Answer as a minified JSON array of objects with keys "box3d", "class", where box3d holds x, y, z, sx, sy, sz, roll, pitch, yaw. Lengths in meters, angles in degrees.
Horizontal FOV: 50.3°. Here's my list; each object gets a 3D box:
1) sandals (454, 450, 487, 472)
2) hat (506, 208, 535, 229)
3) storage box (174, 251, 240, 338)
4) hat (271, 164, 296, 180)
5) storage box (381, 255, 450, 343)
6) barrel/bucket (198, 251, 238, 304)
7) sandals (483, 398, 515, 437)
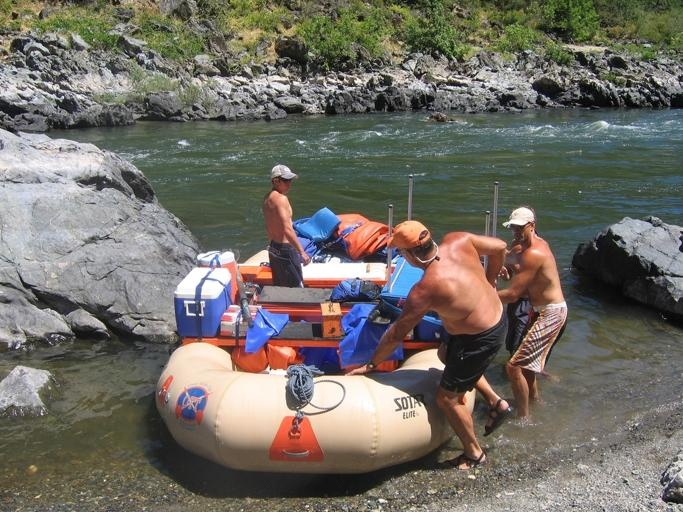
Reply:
[{"box3d":[1.576,2.540,8.974,0.429,0.151,0.172,-10,38,10],"class":"sandals"},{"box3d":[2.378,-0.497,9.549,0.354,0.195,0.243,0,2,-28],"class":"hat"},{"box3d":[-1.852,0.578,10.112,0.574,0.517,1.322,-1,23,2],"class":"storage box"},{"box3d":[-0.891,-1.266,11.114,0.464,0.227,0.314,4,10,-1],"class":"hat"},{"box3d":[0.964,0.577,10.022,0.808,0.318,1.077,-22,40,-35],"class":"storage box"},{"box3d":[-1.752,0.328,10.240,0.514,0.747,0.509,0,45,0],"class":"barrel/bucket"},{"box3d":[2.008,2.080,9.432,0.271,0.639,0.226,33,38,7],"class":"sandals"}]
